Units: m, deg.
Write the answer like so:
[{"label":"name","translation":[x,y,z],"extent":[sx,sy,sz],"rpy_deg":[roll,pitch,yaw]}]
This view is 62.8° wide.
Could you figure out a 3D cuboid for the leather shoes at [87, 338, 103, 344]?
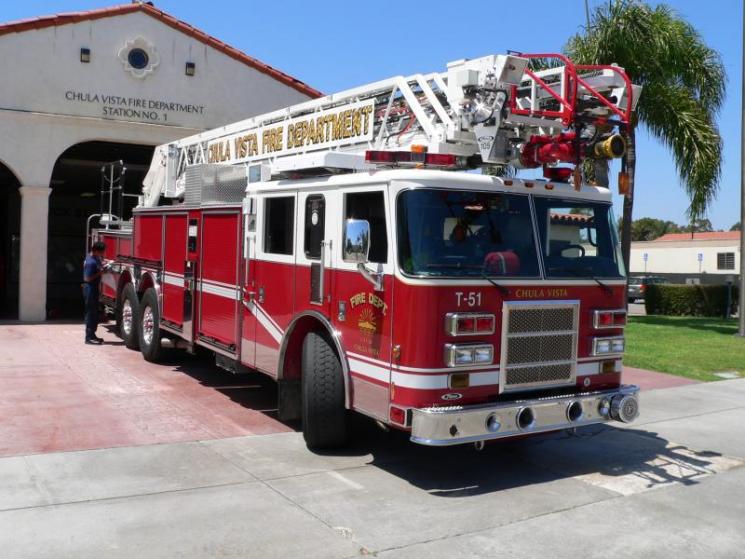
[{"label":"leather shoes","translation":[-5.501,1.218,12.130],"extent":[0.287,0.131,0.107],"rpy_deg":[0,-3,-11]}]

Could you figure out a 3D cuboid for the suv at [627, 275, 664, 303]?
[{"label":"suv","translation":[12.807,0.476,28.640],"extent":[1.245,1.113,2.597],"rpy_deg":[1,7,38]}]
